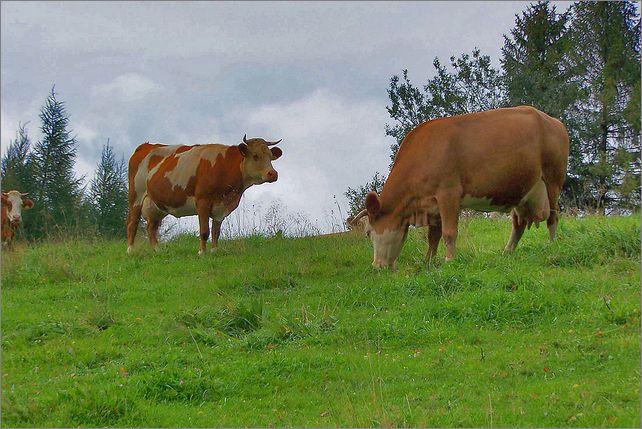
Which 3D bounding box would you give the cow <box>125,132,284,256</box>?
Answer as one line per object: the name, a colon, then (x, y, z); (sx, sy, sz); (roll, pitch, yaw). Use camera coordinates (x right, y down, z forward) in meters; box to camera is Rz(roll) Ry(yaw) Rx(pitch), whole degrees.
cow: (-3.689, -0.543, 21.404); (4.632, 3.432, 1.716); (0, -1, 22)
